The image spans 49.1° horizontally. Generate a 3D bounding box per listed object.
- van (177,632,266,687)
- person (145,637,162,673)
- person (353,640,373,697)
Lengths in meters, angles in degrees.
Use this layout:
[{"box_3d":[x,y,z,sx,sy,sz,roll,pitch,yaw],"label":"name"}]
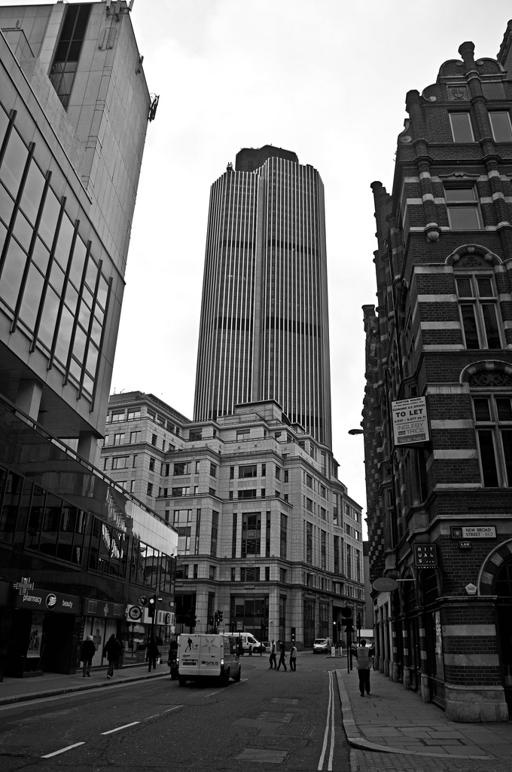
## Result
[{"box_3d":[-1.727,9.913,21.246,1.861,1.997,3.722,-4,-24,10],"label":"van"},{"box_3d":[-5.111,13.202,27.641,0.491,1.528,2.438,5,-24,-9],"label":"person"},{"box_3d":[3.438,8.922,17.588,0.394,1.410,1.529,-2,-23,9],"label":"person"}]
